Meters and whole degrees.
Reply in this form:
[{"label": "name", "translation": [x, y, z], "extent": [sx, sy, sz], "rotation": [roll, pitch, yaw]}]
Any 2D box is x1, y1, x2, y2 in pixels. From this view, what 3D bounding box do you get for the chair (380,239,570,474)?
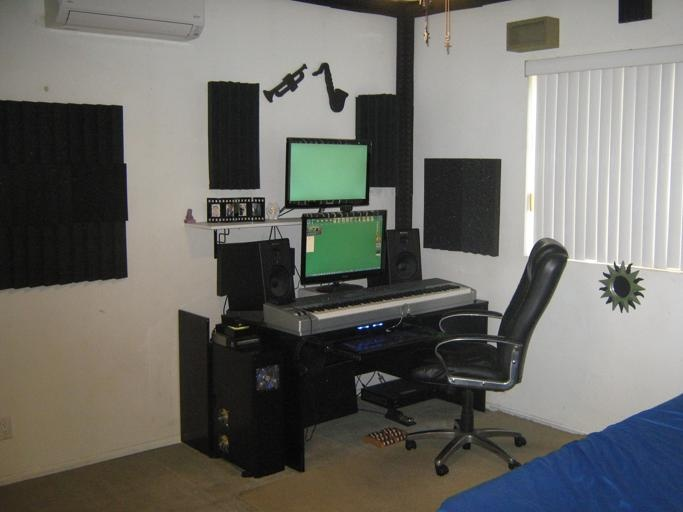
[{"label": "chair", "translation": [0.926, 0.624, 3.798], "extent": [0.902, 1.525, 0.640], "rotation": [1, 10, 6]}]
